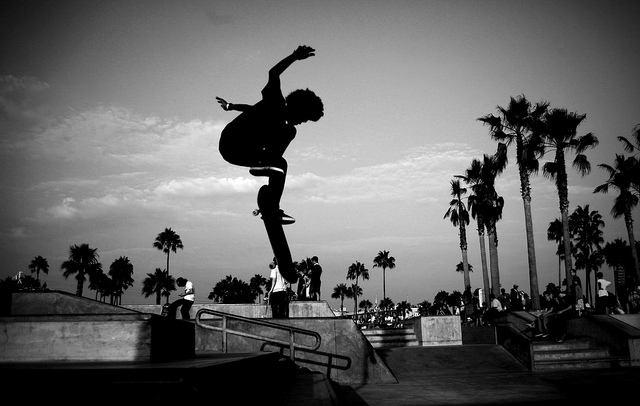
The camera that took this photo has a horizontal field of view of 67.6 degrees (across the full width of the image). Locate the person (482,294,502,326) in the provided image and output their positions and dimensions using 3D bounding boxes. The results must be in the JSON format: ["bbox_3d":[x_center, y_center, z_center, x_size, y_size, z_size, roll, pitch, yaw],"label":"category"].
[{"bbox_3d":[8.335,5.164,23.143,0.905,1.381,1.771,-3,-10,18],"label":"person"}]

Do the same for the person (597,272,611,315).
[{"bbox_3d":[12.292,3.991,20.670,0.405,1.530,0.915,-5,-11,28],"label":"person"}]
